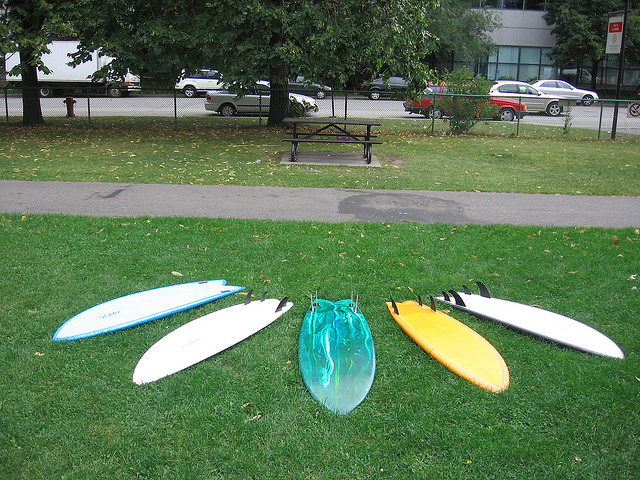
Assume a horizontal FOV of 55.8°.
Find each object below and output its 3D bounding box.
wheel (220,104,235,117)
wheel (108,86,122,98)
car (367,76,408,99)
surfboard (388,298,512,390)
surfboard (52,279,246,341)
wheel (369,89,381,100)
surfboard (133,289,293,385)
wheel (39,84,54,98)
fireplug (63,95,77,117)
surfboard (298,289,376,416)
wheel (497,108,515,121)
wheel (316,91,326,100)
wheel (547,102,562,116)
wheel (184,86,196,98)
[{"bbox_3d":[-4.013,-5.613,26.188,0.461,0.526,0.162,-1,18,-7],"label":"wheel"},{"bbox_3d":[-11.492,-8.155,33.866,0.730,0.438,1.264,-4,16,-19],"label":"wheel"},{"bbox_3d":[3.769,-8.710,34.913,1.583,1.329,3.837,-1,15,-10],"label":"car"},{"bbox_3d":[1.487,1.039,6.674,0.471,0.218,1.535,-8,24,-16],"label":"surfboard"},{"bbox_3d":[-2.033,0.787,7.273,2.168,0.091,0.702,-13,30,-34],"label":"surfboard"},{"bbox_3d":[3.330,-8.718,36.391,0.691,0.628,2.031,2,15,4],"label":"wheel"},{"bbox_3d":[-1.212,1.050,6.852,0.598,0.305,1.948,23,37,29],"label":"surfboard"},{"bbox_3d":[-15.128,-8.195,33.457,0.700,0.734,1.707,-5,16,-22],"label":"wheel"},{"bbox_3d":[-10.419,-5.545,25.206,0.399,0.746,2.024,-5,16,-22],"label":"fireplug"},{"bbox_3d":[0.181,1.064,6.671,0.851,0.413,1.967,1,29,-3],"label":"surfboard"},{"bbox_3d":[8.146,-5.446,26.330,0.621,0.540,0.390,5,15,15],"label":"wheel"},{"bbox_3d":[0.059,-7.834,32.937,0.522,0.337,1.087,1,15,-2],"label":"wheel"},{"bbox_3d":[11.968,-6.630,30.766,0.693,0.646,0.466,7,15,22],"label":"wheel"},{"bbox_3d":[-7.408,-8.387,34.400,0.652,0.630,0.611,1,14,0],"label":"wheel"}]
